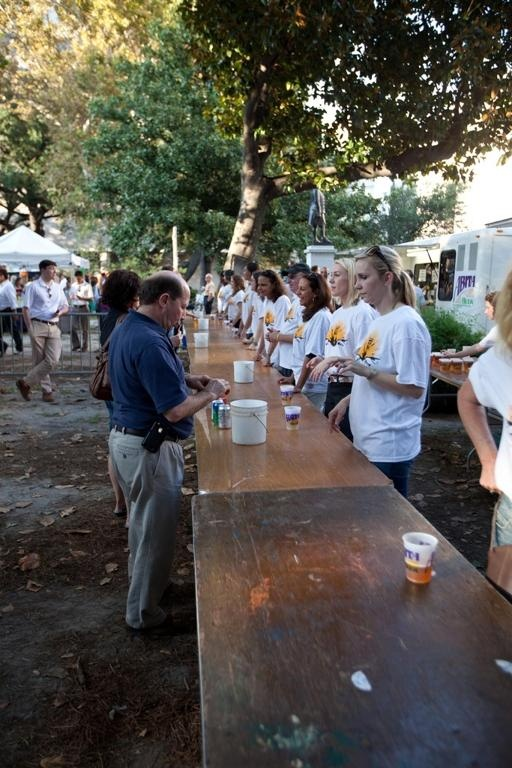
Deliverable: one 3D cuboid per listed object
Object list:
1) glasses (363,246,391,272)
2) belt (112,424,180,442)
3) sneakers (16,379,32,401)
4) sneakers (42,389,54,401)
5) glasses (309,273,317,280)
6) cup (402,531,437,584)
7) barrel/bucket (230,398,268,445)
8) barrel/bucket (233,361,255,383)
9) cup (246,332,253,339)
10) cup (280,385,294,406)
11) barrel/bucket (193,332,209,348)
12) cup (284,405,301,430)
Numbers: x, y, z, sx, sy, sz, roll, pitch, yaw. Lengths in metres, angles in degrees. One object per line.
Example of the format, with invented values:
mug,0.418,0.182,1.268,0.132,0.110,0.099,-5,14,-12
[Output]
glasses,0.639,-0.662,2.660,0.043,0.138,0.132,-37,34,-11
belt,-0.585,0.257,2.610,0.360,0.091,0.166,2,8,4
sneakers,-3.943,0.114,8.583,0.204,0.308,0.101,-10,23,5
sneakers,-3.545,0.215,8.692,0.271,0.277,0.137,-4,-4,36
glasses,0.477,-0.907,4.263,0.047,0.025,0.069,1,32,7
cup,0.485,0.497,1.488,0.118,0.128,0.119,0,0,0
barrel/bucket,-0.038,0.210,2.875,0.227,0.231,0.227,0,6,0
barrel/bucket,-0.115,-0.107,4.563,0.184,0.181,0.185,0,5,0
cup,-0.114,-0.785,8.271,0.103,0.194,0.140,2,2,-4
cup,0.205,0.081,3.511,0.111,0.132,0.120,2,14,-1
barrel/bucket,-0.748,-0.575,6.781,0.206,0.207,0.193,5,14,-1
cup,0.227,0.209,3.119,0.121,0.134,0.120,1,2,0
